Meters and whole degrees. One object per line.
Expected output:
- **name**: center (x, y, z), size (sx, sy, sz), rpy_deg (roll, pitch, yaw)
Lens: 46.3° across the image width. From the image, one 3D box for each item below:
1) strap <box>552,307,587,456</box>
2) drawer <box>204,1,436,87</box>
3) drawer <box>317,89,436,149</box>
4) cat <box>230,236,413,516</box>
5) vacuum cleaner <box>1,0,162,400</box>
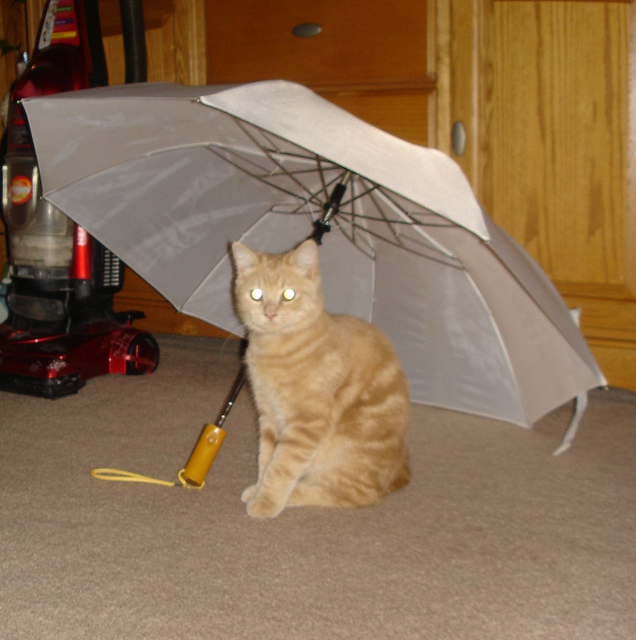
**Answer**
- **strap**: center (0.638, 0.171, 1.892), size (0.041, 0.414, 0.043), rpy_deg (-8, -15, 29)
- **drawer**: center (-0.009, -1.107, 2.978), size (0.990, 0.340, 0.119), rpy_deg (8, 13, 25)
- **drawer**: center (0.260, -0.809, 2.945), size (0.422, 0.201, 0.047), rpy_deg (5, 12, 15)
- **cat**: center (0.019, 0.072, 1.929), size (0.428, 0.810, 0.376), rpy_deg (-13, 30, -18)
- **vacuum cleaner**: center (-0.842, -0.431, 2.582), size (0.518, 1.326, 0.464), rpy_deg (-4, 12, -23)
